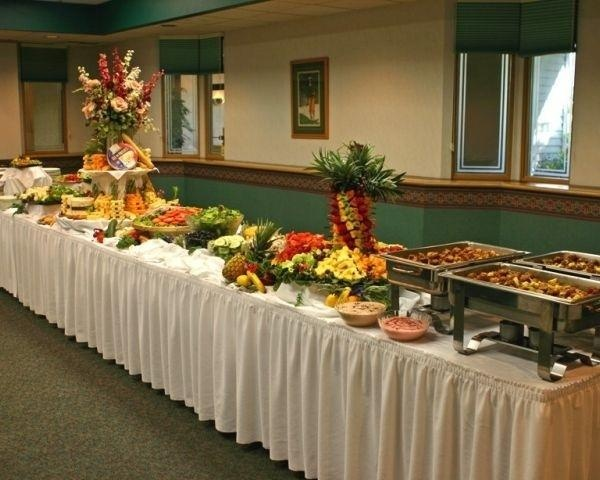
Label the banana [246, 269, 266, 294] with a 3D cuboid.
[{"bbox_3d":[-0.232,0.216,2.657,0.046,0.045,0.178,-11,32,-21],"label":"banana"}]

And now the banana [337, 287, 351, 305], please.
[{"bbox_3d":[0.216,0.269,2.411,0.041,0.096,0.044,24,6,2],"label":"banana"}]

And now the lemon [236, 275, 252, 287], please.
[{"bbox_3d":[-0.301,0.219,2.695,0.072,0.055,0.053,-1,-5,-28],"label":"lemon"}]

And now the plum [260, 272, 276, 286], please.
[{"bbox_3d":[-0.167,0.207,2.689,0.062,0.073,0.029,-43,-17,12],"label":"plum"}]

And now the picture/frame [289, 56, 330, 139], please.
[{"bbox_3d":[0.158,-2.092,7.411,0.802,1.082,0.046,11,14,40],"label":"picture/frame"}]

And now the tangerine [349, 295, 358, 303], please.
[{"bbox_3d":[0.257,0.279,2.394,0.031,0.030,0.030,2,9,7],"label":"tangerine"}]

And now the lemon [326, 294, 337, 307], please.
[{"bbox_3d":[0.155,0.293,2.436,0.052,0.055,0.051,6,-7,-9],"label":"lemon"}]

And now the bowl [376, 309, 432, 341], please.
[{"bbox_3d":[0.459,0.359,2.097,0.245,0.070,0.184,-11,15,-37],"label":"bowl"}]
